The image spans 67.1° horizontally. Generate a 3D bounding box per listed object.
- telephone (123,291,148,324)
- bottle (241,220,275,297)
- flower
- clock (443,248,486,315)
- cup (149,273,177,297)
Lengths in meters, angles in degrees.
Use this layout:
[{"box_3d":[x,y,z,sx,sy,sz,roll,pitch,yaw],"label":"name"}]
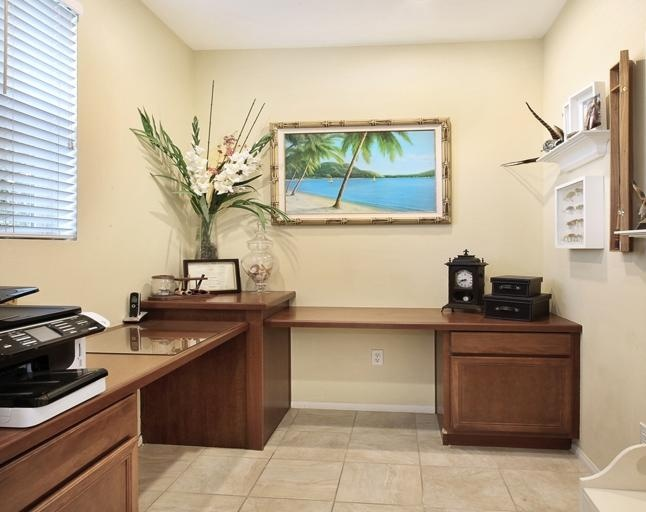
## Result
[{"box_3d":[-1.184,0.316,3.059,0.111,0.183,0.166,-1,7,-2],"label":"telephone"},{"box_3d":[-0.486,0.015,3.682,0.233,0.526,0.397,-2,7,-6],"label":"bottle"},{"box_3d":[-0.827,-0.547,3.658,1.212,0.970,0.886,10,4,-18],"label":"flower"},{"box_3d":[1.030,0.165,3.485,0.279,0.389,0.280,2,9,30],"label":"clock"},{"box_3d":[-1.064,0.192,3.239,0.140,0.124,0.141,1,0,0],"label":"cup"}]
